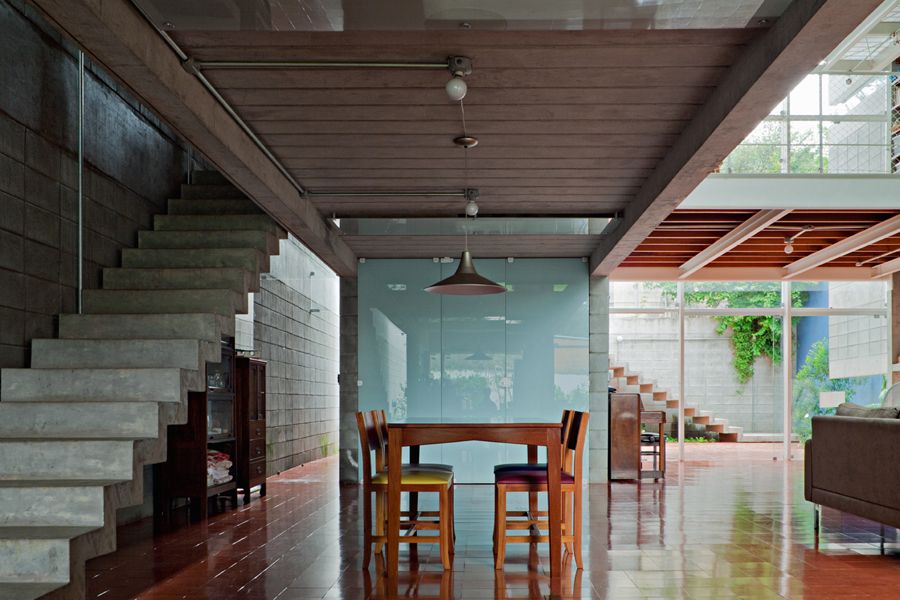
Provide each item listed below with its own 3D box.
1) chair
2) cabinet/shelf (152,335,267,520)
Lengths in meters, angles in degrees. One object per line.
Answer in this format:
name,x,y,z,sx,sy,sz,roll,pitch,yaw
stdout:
chair,0.221,1.586,6.238,1.684,0.917,1.474,-1,-5,2
cabinet/shelf,-2.400,1.323,7.240,0.720,1.636,2.044,-1,-4,-3
